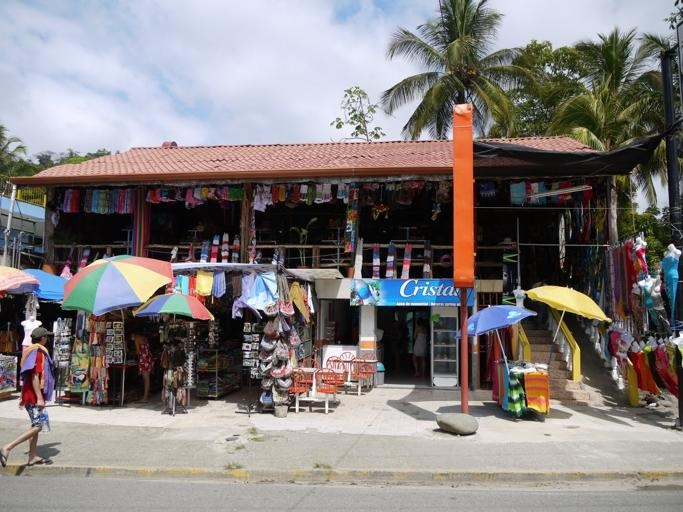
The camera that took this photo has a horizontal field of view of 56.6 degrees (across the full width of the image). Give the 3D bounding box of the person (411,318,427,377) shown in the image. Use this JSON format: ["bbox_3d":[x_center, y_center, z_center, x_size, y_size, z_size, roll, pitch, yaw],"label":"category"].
[{"bbox_3d":[2.632,3.148,21.200,0.445,1.661,1.326,0,3,7],"label":"person"}]

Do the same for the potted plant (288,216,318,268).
[{"bbox_3d":[-1.327,-0.555,22.392,1.031,1.621,3.340,0,3,-4],"label":"potted plant"}]

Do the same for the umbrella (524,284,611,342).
[{"bbox_3d":[5.748,1.298,16.354,1.334,1.021,1.382,18,-13,14],"label":"umbrella"}]

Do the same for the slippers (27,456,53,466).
[{"bbox_3d":[-5.962,4.022,12.454,0.354,0.107,0.201,-6,-3,18],"label":"slippers"}]

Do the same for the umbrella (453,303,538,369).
[{"bbox_3d":[3.931,1.886,15.937,1.114,1.021,1.111,-26,8,-24],"label":"umbrella"}]
